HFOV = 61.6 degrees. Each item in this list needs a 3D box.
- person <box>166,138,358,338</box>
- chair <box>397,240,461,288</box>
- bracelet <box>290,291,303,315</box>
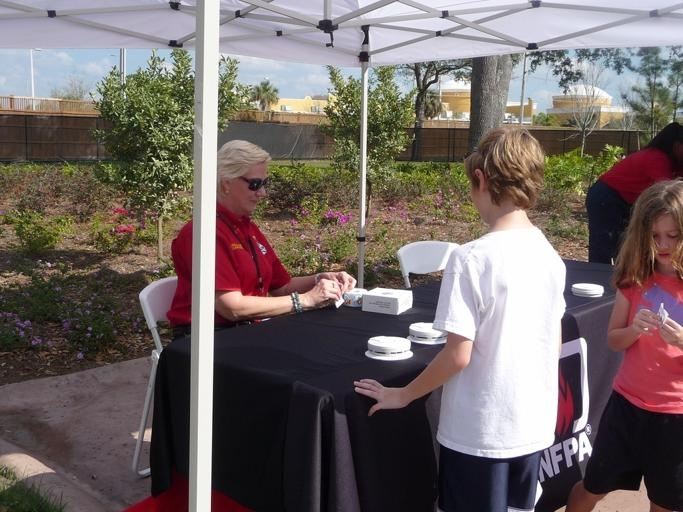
[{"bbox_3d":[-0.506,-0.043,3.562,1.045,1.320,0.928,2,5,16],"label":"person"},{"bbox_3d":[0.732,0.013,5.059,0.443,0.592,0.419,-7,8,-34],"label":"chair"},{"bbox_3d":[-0.264,0.283,3.439,0.078,0.105,0.030,-6,-4,-42],"label":"bracelet"}]
